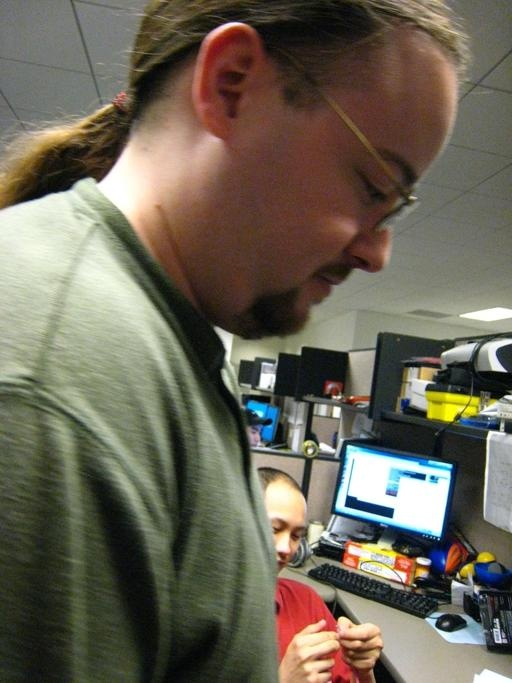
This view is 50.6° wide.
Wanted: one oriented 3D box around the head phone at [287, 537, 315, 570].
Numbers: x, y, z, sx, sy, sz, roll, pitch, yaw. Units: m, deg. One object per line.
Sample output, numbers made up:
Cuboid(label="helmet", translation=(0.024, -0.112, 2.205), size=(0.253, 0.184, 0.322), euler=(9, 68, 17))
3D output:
Cuboid(label="head phone", translation=(0.161, 0.719, 1.850), size=(0.041, 0.100, 0.092), euler=(2, -2, -13))

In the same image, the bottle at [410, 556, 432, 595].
Cuboid(label="bottle", translation=(0.534, 0.750, 1.736), size=(0.074, 0.115, 0.071), euler=(3, -6, 0))

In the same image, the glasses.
Cuboid(label="glasses", translation=(0.059, -0.128, 0.363), size=(0.027, 0.094, 0.097), euler=(-29, 1, 6))

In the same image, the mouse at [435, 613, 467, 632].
Cuboid(label="mouse", translation=(0.516, 0.735, 1.433), size=(0.047, 0.014, 0.045), euler=(-1, 10, 4))

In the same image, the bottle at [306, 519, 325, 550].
Cuboid(label="bottle", translation=(0.223, 0.761, 2.118), size=(0.072, 0.111, 0.069), euler=(2, 3, 0))
